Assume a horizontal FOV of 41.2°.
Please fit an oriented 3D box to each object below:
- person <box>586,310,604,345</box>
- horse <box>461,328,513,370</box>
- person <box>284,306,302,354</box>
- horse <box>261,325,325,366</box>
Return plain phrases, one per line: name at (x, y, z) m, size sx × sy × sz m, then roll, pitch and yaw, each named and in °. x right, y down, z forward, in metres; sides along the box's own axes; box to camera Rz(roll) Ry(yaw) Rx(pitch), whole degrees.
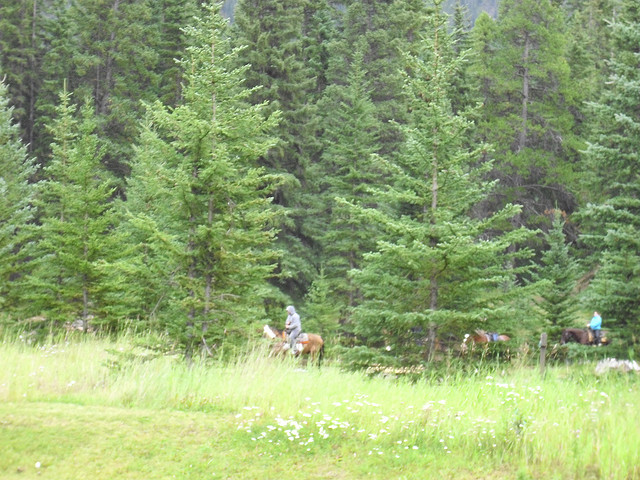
person at (11.832, 3.810, 36.811) m, size 0.594 × 1.454 × 1.800 m, roll 0°, pitch -8°, yaw 17°
horse at (5.852, 3.891, 30.229) m, size 1.817 × 1.449 × 2.046 m, roll 1°, pitch -7°, yaw 15°
person at (-1.032, 3.747, 35.471) m, size 0.705 × 2.122 × 0.697 m, roll -11°, pitch 21°, yaw -17°
horse at (-1.287, 4.733, 36.274) m, size 3.625 × 2.287 × 0.853 m, roll 7°, pitch -6°, yaw -34°
